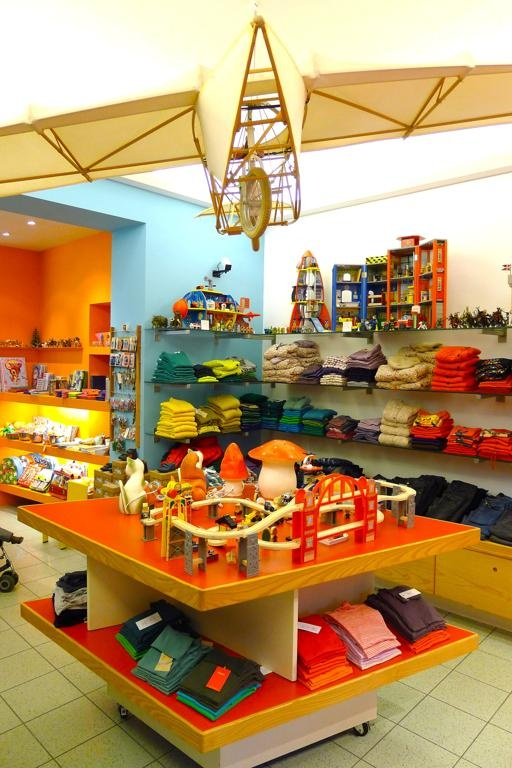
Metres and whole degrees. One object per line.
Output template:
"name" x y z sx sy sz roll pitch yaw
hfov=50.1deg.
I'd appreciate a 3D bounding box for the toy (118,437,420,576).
"toy" -0.003 0.461 2.276 1.086 0.335 0.940 -6 7 -40
